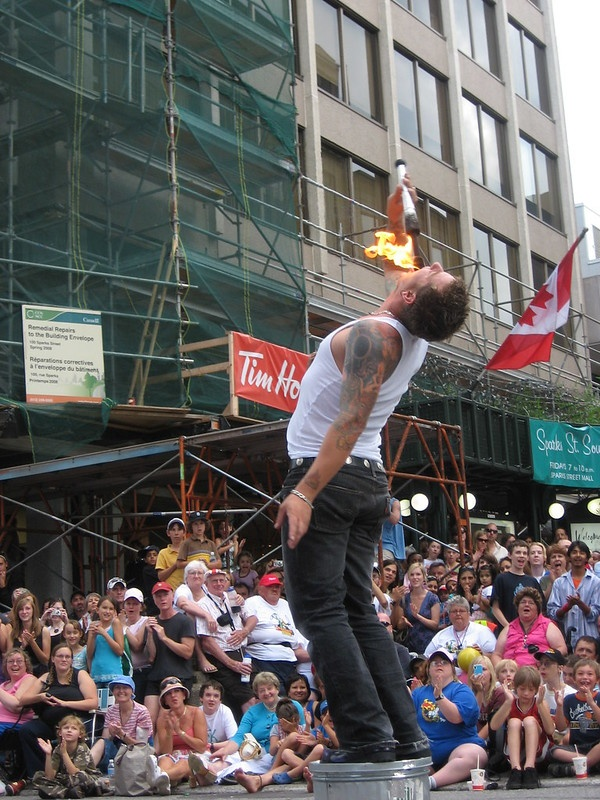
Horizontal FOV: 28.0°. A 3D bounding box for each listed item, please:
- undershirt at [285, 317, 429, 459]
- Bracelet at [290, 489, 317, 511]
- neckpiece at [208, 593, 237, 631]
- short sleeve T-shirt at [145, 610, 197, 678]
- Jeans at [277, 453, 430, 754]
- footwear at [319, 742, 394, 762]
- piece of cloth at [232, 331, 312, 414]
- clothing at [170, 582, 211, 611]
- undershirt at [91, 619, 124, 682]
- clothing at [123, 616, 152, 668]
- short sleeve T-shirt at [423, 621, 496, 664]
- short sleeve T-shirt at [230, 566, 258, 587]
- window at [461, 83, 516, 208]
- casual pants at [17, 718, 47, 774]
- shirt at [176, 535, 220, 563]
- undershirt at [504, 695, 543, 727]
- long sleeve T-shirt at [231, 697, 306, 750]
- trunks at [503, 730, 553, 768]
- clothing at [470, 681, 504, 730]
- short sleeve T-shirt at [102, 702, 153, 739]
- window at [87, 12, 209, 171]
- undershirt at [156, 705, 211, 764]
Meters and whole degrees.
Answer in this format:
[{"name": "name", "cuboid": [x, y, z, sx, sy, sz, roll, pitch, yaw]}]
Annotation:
[{"name": "undershirt", "cuboid": [0.237, -0.107, 5.476, 0.483, 0.598, 0.382, 24, 8, 21]}, {"name": "Bracelet", "cuboid": [0.007, 0.413, 5.027, 0.082, 0.088, 0.052, -5, -12, 1]}, {"name": "neckpiece", "cuboid": [-0.688, 1.955, 11.137, 0.090, 0.312, 0.239, -34, -35, -4]}, {"name": "short sleeve T-shirt", "cuboid": [-1.121, 2.173, 10.644, 0.314, 0.595, 0.389, -10, -13, 25]}, {"name": "Jeans", "cuboid": [0.210, 0.910, 5.252, 0.707, 1.311, 0.290, 2, -14, -29]}, {"name": "footwear", "cuboid": [0.236, 1.498, 5.121, 0.334, 0.070, 0.091, -9, -12, 28]}, {"name": "piece of cloth", "cuboid": [-0.369, -0.335, 15.885, 0.126, 0.827, 1.670, -11, 18, -37]}, {"name": "clothing", "cuboid": [-1.036, 1.784, 11.223, 0.332, 0.169, 0.336, 20, 10, 14]}, {"name": "undershirt", "cuboid": [-1.686, 2.205, 10.521, 0.315, 0.597, 0.178, -24, -60, 2]}, {"name": "clothing", "cuboid": [-1.442, 2.162, 10.710, 0.203, 0.338, 0.290, 19, -47, -27]}, {"name": "short sleeve T-shirt", "cuboid": [1.494, 2.165, 10.906, 0.624, 0.298, 0.315, -14, -30, 7]}, {"name": "short sleeve T-shirt", "cuboid": [-0.660, 2.094, 14.305, 0.382, 0.323, 0.199, 1, -18, -9]}, {"name": "window", "cuboid": [4.657, -6.222, 29.854, 0.169, 4.027, 3.234, -11, -21, 33]}, {"name": "casual pants", "cuboid": [-2.152, 2.848, 9.883, 0.161, 0.363, 0.325, 4, -20, 8]}, {"name": "shirt", "cuboid": [-1.018, 1.513, 12.183, 0.462, 0.306, 0.241, 4, -25, -13]}, {"name": "undershirt", "cuboid": [1.682, 2.310, 8.979, 0.224, 0.252, 0.136, -5, -43, 14]}, {"name": "long sleeve T-shirt", "cuboid": [-0.267, 2.740, 10.183, 0.552, 0.419, 0.265, 5, -7, -4]}, {"name": "trunks", "cuboid": [1.659, 2.488, 8.618, 0.363, 0.173, 0.447, 1, -6, 9]}, {"name": "clothing", "cuboid": [1.469, 2.380, 9.349, 0.276, 0.317, 0.187, -20, -61, 36]}, {"name": "short sleeve T-shirt", "cuboid": [-1.375, 2.604, 9.833, 0.563, 0.337, 0.271, 0, -13, -1]}, {"name": "window", "cuboid": [-2.139, -4.728, 17.298, 0.822, 2.701, 1.861, -11, -13, 25]}, {"name": "undershirt", "cuboid": [-0.980, 2.726, 9.944, 0.452, 0.555, 0.331, -2, -54, -6]}]
